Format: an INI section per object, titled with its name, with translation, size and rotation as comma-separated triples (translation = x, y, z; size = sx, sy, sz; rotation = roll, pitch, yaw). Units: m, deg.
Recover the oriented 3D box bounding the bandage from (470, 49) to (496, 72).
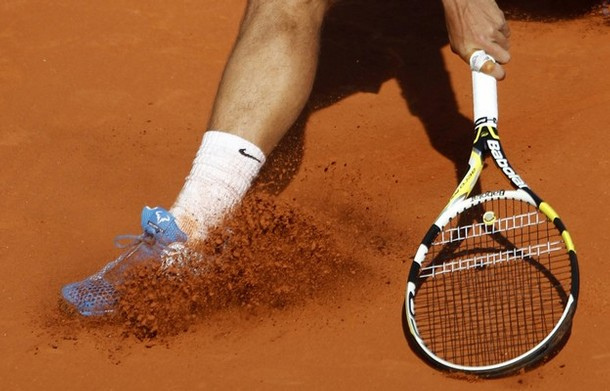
[bandage]
translation = 1.346, -1.051, 5.663
size = 0.126, 0.174, 0.109
rotation = -1, 95, 42
